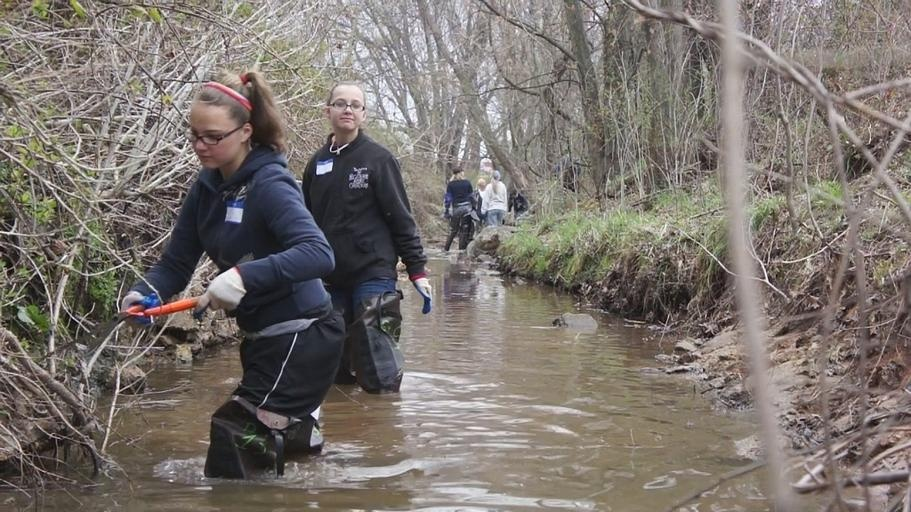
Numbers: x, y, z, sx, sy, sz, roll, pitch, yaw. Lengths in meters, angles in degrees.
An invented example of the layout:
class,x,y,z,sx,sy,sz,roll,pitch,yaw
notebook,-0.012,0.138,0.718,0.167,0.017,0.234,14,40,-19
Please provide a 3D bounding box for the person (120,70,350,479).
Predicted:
class,x,y,z,sx,sy,sz,roll,pitch,yaw
person,-1.715,0.189,6.206,1.484,3.367,0.924,3,15,13

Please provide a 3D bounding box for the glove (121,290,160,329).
class,x,y,z,sx,sy,sz,roll,pitch,yaw
glove,-2.546,0.424,6.039,0.343,0.119,0.290,-2,26,-20

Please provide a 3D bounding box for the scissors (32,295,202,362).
class,x,y,z,sx,sy,sz,roll,pitch,yaw
scissors,-3.466,0.721,7.535,1.270,0.325,0.329,-26,-29,-14

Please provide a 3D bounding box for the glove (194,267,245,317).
class,x,y,z,sx,sy,sz,roll,pitch,yaw
glove,-1.828,0.287,5.799,0.404,0.181,0.279,-19,25,29
